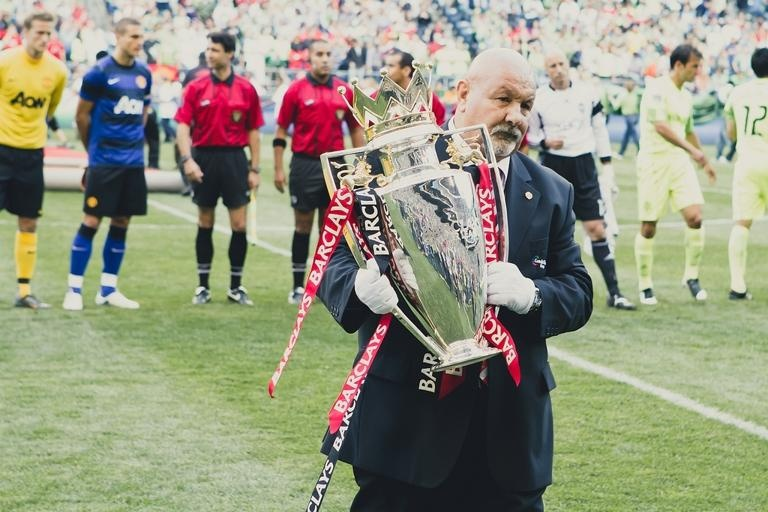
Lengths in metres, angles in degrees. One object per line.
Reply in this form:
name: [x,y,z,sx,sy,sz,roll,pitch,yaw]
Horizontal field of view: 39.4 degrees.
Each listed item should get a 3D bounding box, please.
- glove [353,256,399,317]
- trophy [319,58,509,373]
glove: [-0.043,0.189,6.639,0.268,0.344,0.144,2,-3,-6]
trophy: [0.159,-0.231,6.956,0.850,2.268,1.081,0,0,-12]
